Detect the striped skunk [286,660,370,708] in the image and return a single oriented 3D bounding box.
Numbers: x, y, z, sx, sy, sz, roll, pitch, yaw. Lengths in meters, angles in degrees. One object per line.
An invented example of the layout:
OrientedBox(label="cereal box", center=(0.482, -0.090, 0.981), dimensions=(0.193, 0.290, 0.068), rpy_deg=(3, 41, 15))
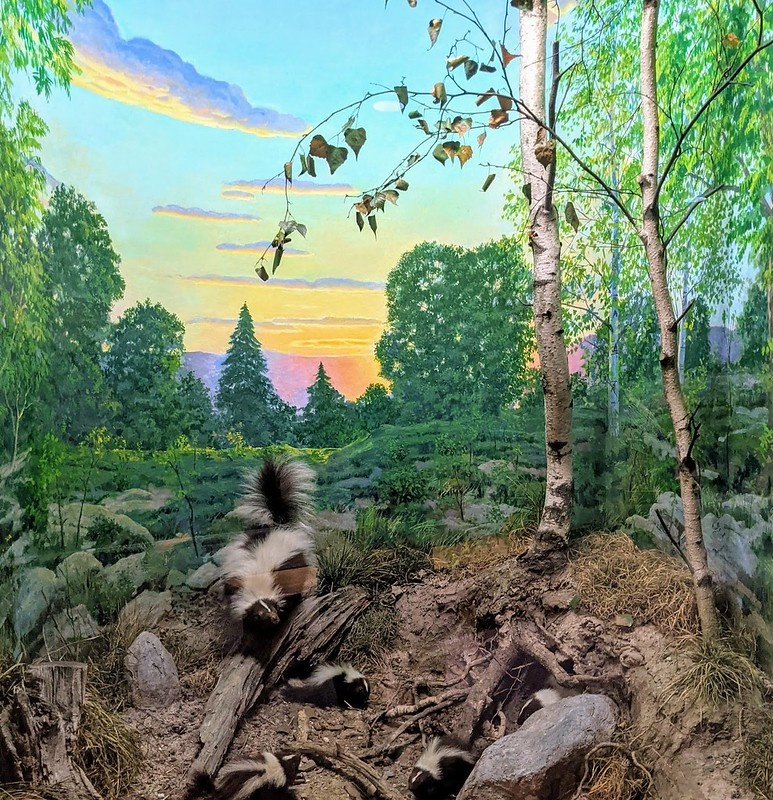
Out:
OrientedBox(label="striped skunk", center=(-0.389, 1.921, 4.994), dimensions=(0.390, 0.260, 0.275), rpy_deg=(4, 5, -10))

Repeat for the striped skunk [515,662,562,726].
OrientedBox(label="striped skunk", center=(0.971, 1.922, 4.754), dimensions=(0.195, 0.306, 0.313), rpy_deg=(2, -4, -45))
